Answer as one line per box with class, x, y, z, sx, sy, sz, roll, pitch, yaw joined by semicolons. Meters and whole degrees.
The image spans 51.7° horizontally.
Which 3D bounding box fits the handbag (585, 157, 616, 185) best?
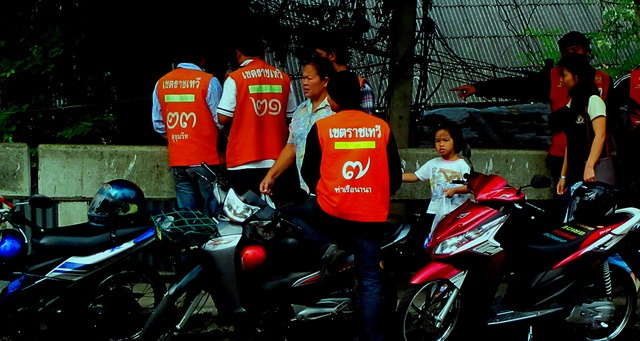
handbag;3.816;0.017;8.852;0.337;0.387;0.350;2;2;-2
